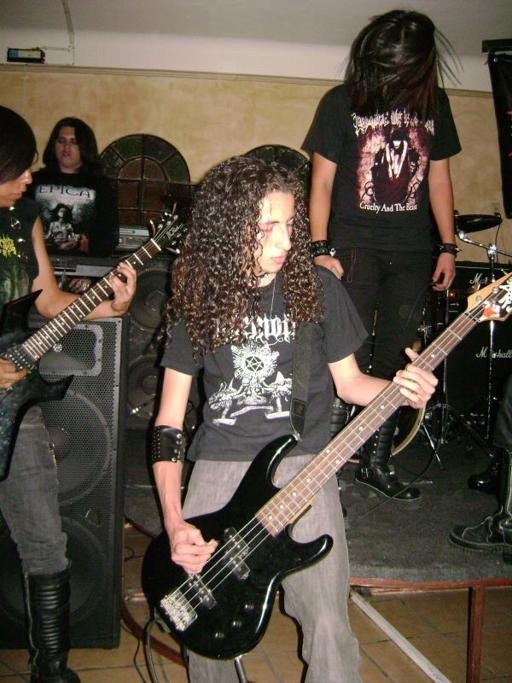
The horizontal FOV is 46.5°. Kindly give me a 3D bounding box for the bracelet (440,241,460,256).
[{"bbox_3d":[0.903,-0.432,2.813,0.079,0.065,0.107,2,1,39],"label":"bracelet"}]
